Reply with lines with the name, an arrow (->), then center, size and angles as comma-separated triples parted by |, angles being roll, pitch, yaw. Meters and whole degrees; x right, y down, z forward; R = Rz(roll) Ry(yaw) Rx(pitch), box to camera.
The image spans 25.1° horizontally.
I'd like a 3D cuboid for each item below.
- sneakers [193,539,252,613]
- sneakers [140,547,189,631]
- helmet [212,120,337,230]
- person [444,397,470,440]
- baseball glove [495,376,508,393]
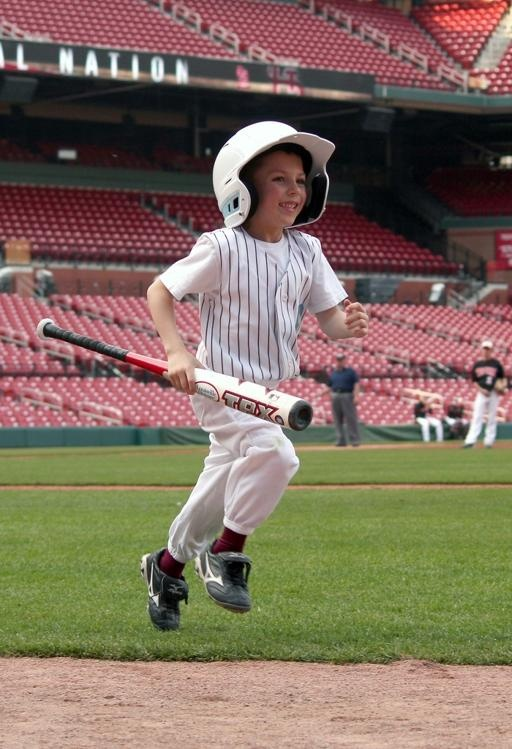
sneakers -> -0.135, 0.719, 4.140 | 0.122, 0.133, 0.316 | 22, 10, -39
sneakers -> -0.358, 0.805, 4.345 | 0.127, 0.312, 0.157 | 3, -28, -44
helmet -> 0.057, -0.751, 4.253 | 0.476, 0.318, 0.461 | -8, 0, 0
person -> 3.287, 0.727, 18.994 | 0.627, 0.616, 1.259 | 0, 2, 8
baseball glove -> 3.015, 0.124, 14.279 | 0.210, 0.230, 0.074 | 9, -28, -20
